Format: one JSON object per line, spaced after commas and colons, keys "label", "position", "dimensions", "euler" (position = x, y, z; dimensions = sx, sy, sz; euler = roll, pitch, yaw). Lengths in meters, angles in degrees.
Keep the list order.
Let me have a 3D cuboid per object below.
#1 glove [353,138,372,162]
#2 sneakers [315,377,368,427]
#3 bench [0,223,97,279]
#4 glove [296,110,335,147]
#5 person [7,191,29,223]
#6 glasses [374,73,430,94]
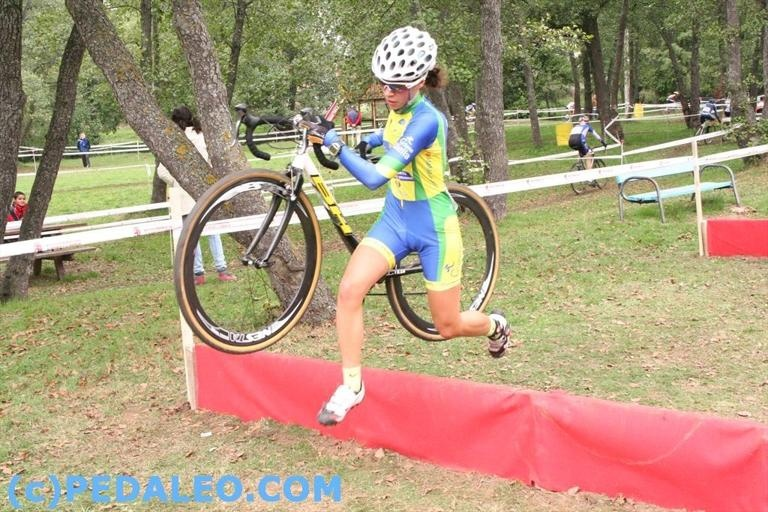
{"label": "glove", "position": [-0.216, -1.072, 6.676], "dimensions": [0.145, 0.199, 0.096], "euler": [7, 14, 2]}
{"label": "sneakers", "position": [-0.410, 1.365, 6.082], "dimensions": [0.221, 0.215, 0.556], "euler": [28, 53, 30]}
{"label": "bench", "position": [-7.198, -0.054, 14.390], "dimensions": [1.546, 1.115, 3.060], "euler": [-13, 16, -29]}
{"label": "glove", "position": [-0.646, -1.225, 6.320], "dimensions": [0.336, 0.347, 0.118], "euler": [20, -23, 6]}
{"label": "person", "position": [-8.939, -1.233, 16.202], "dimensions": [0.429, 0.670, 1.177], "euler": [-12, 16, -29]}
{"label": "glasses", "position": [0.164, -1.598, 6.113], "dimensions": [0.461, 0.193, 0.185], "euler": [-8, 14, -13]}
